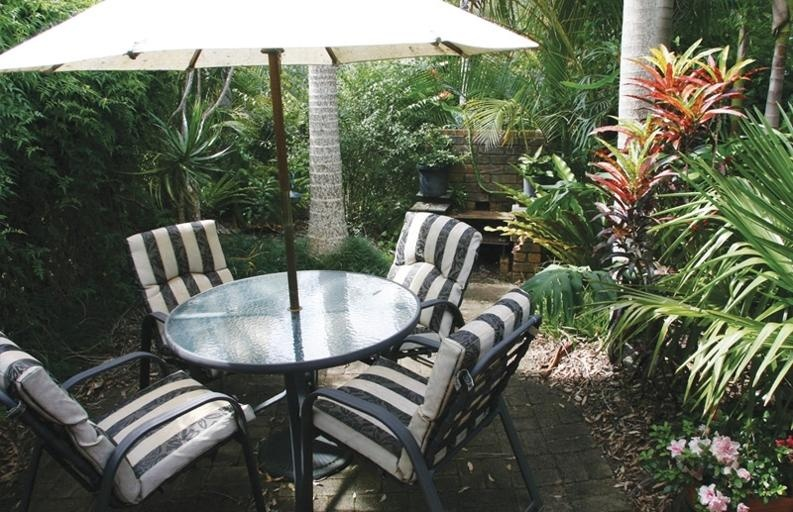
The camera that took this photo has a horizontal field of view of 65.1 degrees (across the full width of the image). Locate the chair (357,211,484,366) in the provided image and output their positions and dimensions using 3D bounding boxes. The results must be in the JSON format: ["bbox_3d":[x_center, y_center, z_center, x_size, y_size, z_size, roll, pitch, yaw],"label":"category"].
[{"bbox_3d":[0.349,0.141,5.189,1.038,1.124,1.032,23,22,40],"label":"chair"}]

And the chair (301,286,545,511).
[{"bbox_3d":[0.142,0.946,3.986,1.106,1.224,0.938,18,31,35],"label":"chair"}]

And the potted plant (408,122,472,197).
[{"bbox_3d":[0.560,-1.165,7.742,0.651,0.718,0.724,8,13,33],"label":"potted plant"}]

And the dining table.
[{"bbox_3d":[-0.669,0.842,4.577,1.548,1.017,1.448,3,25,9],"label":"dining table"}]
